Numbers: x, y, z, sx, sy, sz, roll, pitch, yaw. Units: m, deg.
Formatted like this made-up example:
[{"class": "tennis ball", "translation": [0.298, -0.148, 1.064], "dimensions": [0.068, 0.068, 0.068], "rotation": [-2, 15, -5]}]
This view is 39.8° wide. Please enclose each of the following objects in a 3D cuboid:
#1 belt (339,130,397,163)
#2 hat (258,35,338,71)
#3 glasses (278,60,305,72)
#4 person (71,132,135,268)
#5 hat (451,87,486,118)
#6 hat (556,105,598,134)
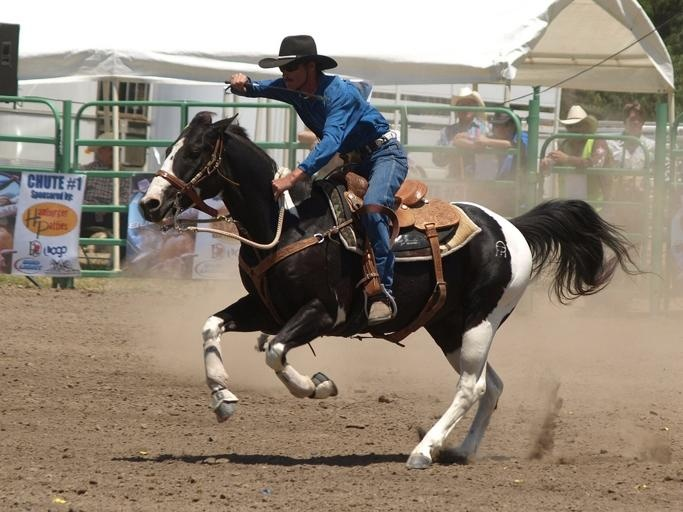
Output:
[{"class": "belt", "translation": [0.204, -0.891, 8.194], "dimensions": [0.402, 0.096, 0.375], "rotation": [-18, 2, -12]}, {"class": "hat", "translation": [-0.320, -1.644, 7.928], "dimensions": [0.495, 0.135, 0.408], "rotation": [2, -4, -40]}, {"class": "glasses", "translation": [-0.441, -1.548, 7.876], "dimensions": [0.182, 0.112, 0.094], "rotation": [8, 14, 12]}, {"class": "person", "translation": [-3.429, -0.680, 13.526], "dimensions": [0.682, 1.949, 1.471], "rotation": [4, 14, -15]}, {"class": "hat", "translation": [1.873, -2.273, 13.876], "dimensions": [0.604, 0.210, 0.617], "rotation": [4, -23, 13]}, {"class": "hat", "translation": [3.651, -1.993, 14.358], "dimensions": [0.611, 0.226, 0.647], "rotation": [-4, -22, 26]}]
